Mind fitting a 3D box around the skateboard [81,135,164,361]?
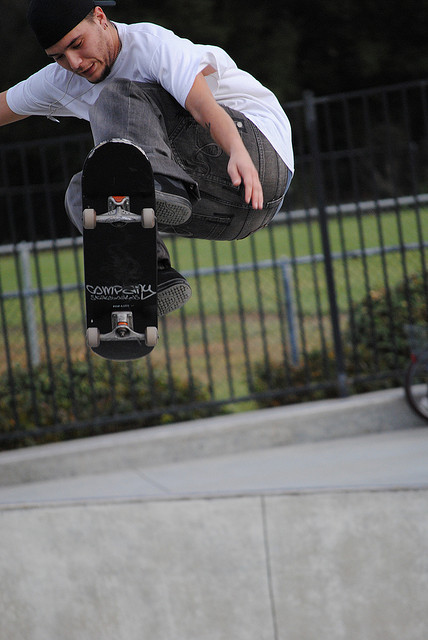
[{"bbox_3d":[-0.342,-0.297,2.614,0.271,0.131,0.835,-2,-21,-7],"label":"skateboard"}]
